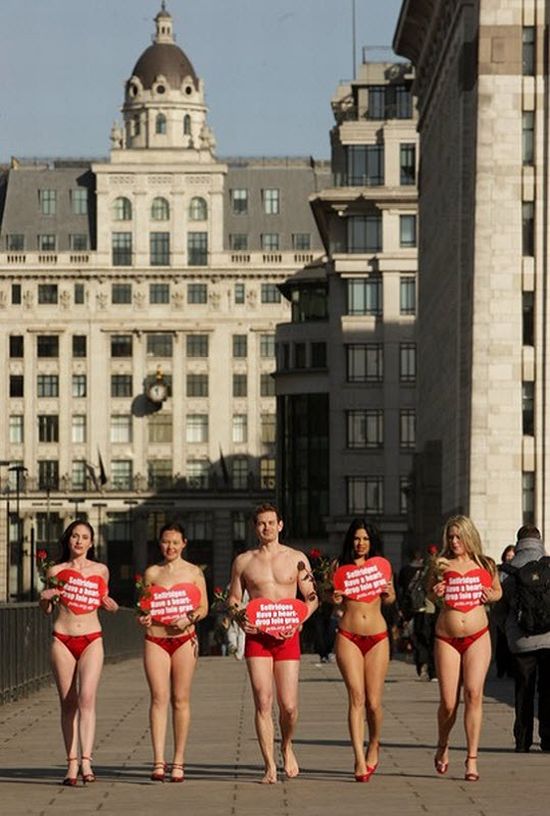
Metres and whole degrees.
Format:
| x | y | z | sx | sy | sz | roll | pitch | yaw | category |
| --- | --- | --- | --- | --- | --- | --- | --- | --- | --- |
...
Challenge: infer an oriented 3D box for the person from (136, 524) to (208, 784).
| x | y | z | sx | sy | sz | roll | pitch | yaw | category |
| --- | --- | --- | --- | --- | --- | --- | --- | --- | --- |
| -0.786 | 1.862 | 16.002 | 0.463 | 1.928 | 0.632 | -3 | -2 | 19 | person |

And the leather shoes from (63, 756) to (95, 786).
| x | y | z | sx | sy | sz | roll | pitch | yaw | category |
| --- | --- | --- | --- | --- | --- | --- | --- | --- | --- |
| -1.504 | 2.752 | 15.811 | 0.120 | 0.179 | 0.402 | -1 | -13 | -12 | leather shoes |

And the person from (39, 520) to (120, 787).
| x | y | z | sx | sy | sz | roll | pitch | yaw | category |
| --- | --- | --- | --- | --- | --- | --- | --- | --- | --- |
| -1.535 | 1.853 | 16.025 | 0.577 | 1.958 | 0.914 | -3 | -2 | 9 | person |

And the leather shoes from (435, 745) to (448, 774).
| x | y | z | sx | sy | sz | roll | pitch | yaw | category |
| --- | --- | --- | --- | --- | --- | --- | --- | --- | --- |
| 1.285 | 2.685 | 15.945 | 0.075 | 0.331 | 0.119 | -1 | -8 | 4 | leather shoes |

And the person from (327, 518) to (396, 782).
| x | y | z | sx | sy | sz | roll | pitch | yaw | category |
| --- | --- | --- | --- | --- | --- | --- | --- | --- | --- |
| 0.667 | 1.864 | 16.126 | 0.472 | 1.974 | 0.837 | -3 | -2 | 18 | person |

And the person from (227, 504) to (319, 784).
| x | y | z | sx | sy | sz | roll | pitch | yaw | category |
| --- | --- | --- | --- | --- | --- | --- | --- | --- | --- |
| 0.005 | 1.803 | 16.062 | 0.654 | 2.095 | 0.604 | -2 | -2 | -14 | person |

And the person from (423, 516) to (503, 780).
| x | y | z | sx | sy | sz | roll | pitch | yaw | category |
| --- | --- | --- | --- | --- | --- | --- | --- | --- | --- |
| 1.468 | 1.820 | 15.934 | 0.562 | 1.337 | 0.652 | -3 | -2 | 6 | person |
